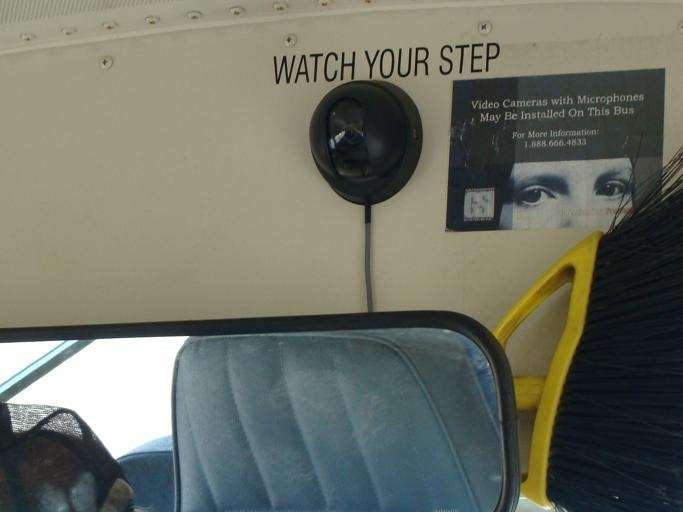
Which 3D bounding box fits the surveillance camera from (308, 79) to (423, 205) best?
[{"bbox_3d":[0.033,-0.240,1.806,0.212,0.294,0.122,-2,6,20],"label":"surveillance camera"}]
